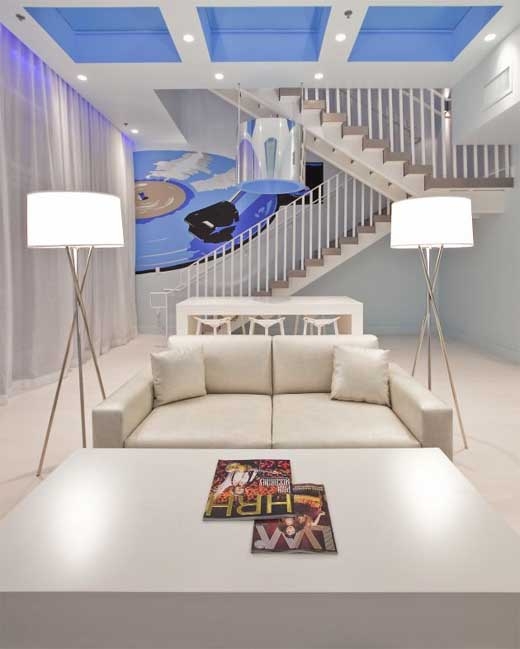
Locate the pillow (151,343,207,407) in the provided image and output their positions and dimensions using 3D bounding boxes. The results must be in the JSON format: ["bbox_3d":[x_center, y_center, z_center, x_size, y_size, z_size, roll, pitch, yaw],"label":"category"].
[{"bbox_3d":[-0.482,0.315,2.797,0.275,0.275,0.100,-7,-8,-35],"label":"pillow"}]

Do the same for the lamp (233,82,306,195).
[{"bbox_3d":[0.085,-1.461,3.549,0.540,0.807,0.541,-1,19,-24],"label":"lamp"}]

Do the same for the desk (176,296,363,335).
[{"bbox_3d":[0.079,-0.075,5.195,1.866,0.430,0.994,0,8,1],"label":"desk"}]
